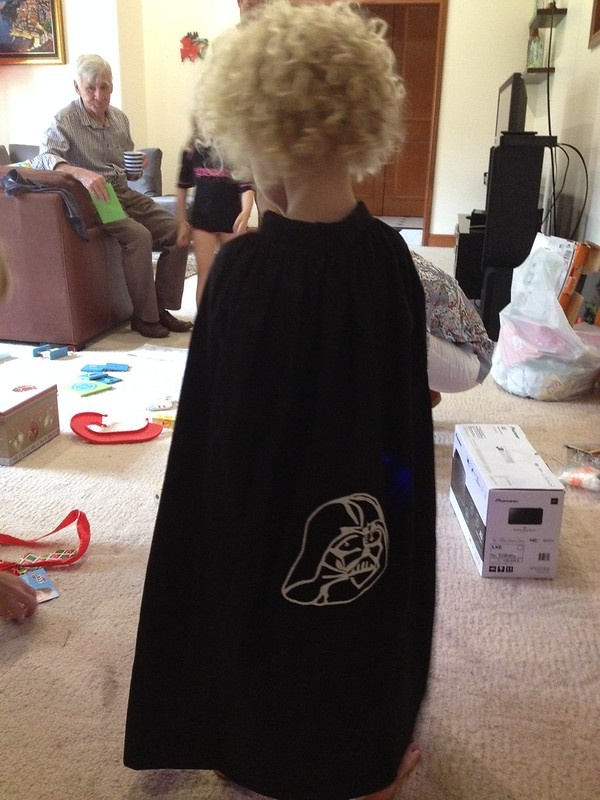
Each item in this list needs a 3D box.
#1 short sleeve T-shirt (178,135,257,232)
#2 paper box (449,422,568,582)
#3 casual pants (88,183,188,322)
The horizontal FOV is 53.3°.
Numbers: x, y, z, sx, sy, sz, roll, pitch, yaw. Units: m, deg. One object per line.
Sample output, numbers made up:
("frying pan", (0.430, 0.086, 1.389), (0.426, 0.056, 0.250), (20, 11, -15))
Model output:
("short sleeve T-shirt", (-0.458, -1.170, 3.220), (0.375, 0.497, 0.190), (-7, 47, -10))
("paper box", (0.526, 0.251, 1.567), (0.181, 0.243, 0.367), (-1, 21, 2))
("casual pants", (-0.900, -0.893, 3.678), (0.322, 0.789, 0.476), (-11, 6, -15))
